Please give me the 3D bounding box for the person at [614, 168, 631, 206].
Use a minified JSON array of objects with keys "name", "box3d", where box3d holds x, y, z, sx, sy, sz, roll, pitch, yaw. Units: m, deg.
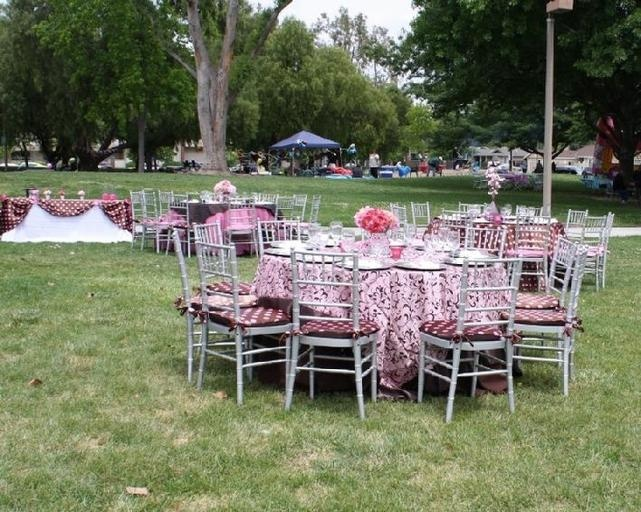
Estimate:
[{"name":"person","box3d":[10.703,-2.504,28.900,0.544,1.029,2.655,3,6,19]}]
